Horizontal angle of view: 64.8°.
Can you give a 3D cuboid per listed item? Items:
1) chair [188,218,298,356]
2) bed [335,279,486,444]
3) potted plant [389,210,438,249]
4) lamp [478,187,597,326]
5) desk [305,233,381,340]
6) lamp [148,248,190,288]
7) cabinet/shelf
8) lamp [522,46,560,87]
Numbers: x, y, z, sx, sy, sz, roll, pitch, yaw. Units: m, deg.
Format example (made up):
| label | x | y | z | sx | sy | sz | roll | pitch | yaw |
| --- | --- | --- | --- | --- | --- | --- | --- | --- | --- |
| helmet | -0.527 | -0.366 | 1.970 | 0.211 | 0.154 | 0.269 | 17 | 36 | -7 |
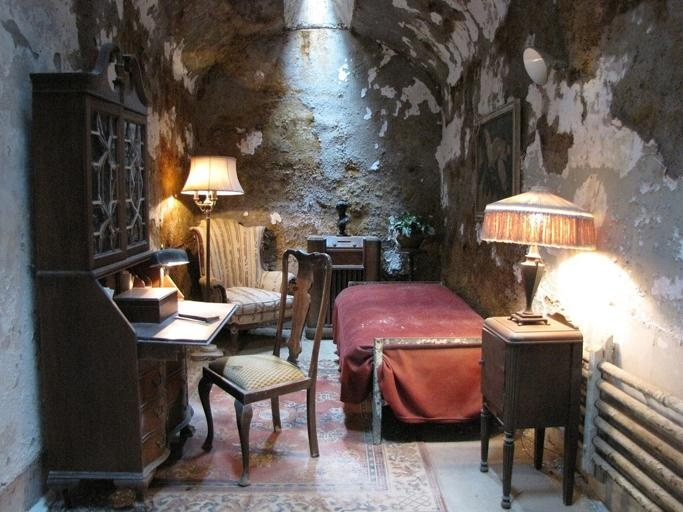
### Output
| label | x | y | z | sx | sy | sz | roll | pitch | yaw |
| --- | --- | --- | --- | --- | --- | --- | --- | --- | --- |
| chair | -0.993 | 0.226 | 5.371 | 0.872 | 1.242 | 0.900 | 3 | 7 | 34 |
| bed | 0.559 | 0.710 | 4.472 | 1.112 | 0.637 | 2.012 | 1 | 7 | -4 |
| potted plant | 0.754 | -0.248 | 5.792 | 0.522 | 0.391 | 0.558 | 1 | 12 | 4 |
| lamp | 1.023 | -0.040 | 3.064 | 0.651 | 0.766 | 0.690 | 4 | 8 | 19 |
| desk | 0.026 | 0.365 | 5.827 | 0.771 | 1.018 | 0.630 | 0 | -10 | 2 |
| lamp | -1.076 | 0.084 | 3.391 | 0.290 | 0.295 | 0.288 | -3 | 2 | -35 |
| cabinet/shelf | -1.234 | 0.090 | 2.924 | 0.849 | 2.404 | 0.879 | 5 | 13 | 21 |
| lamp | 1.241 | -1.214 | 3.441 | 0.137 | 0.233 | 0.339 | 0 | 12 | 1 |
